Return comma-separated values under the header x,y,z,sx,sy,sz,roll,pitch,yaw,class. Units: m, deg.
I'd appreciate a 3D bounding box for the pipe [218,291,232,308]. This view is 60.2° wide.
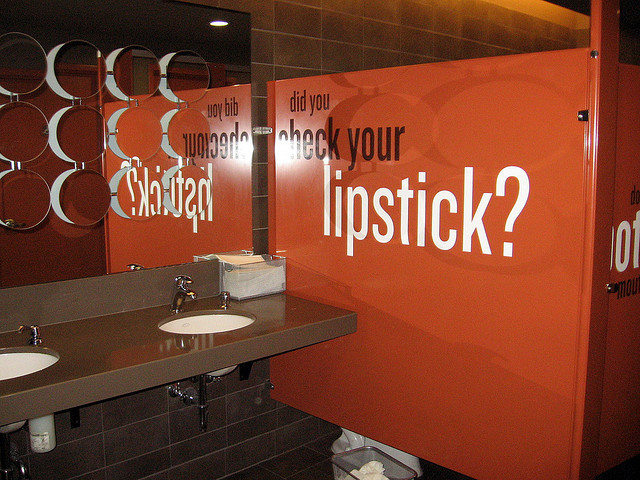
x,y,z,sx,sy,sz,roll,pitch,yaw,class
-0.506,0.326,3.003,0.074,0.081,0.073,-5,11,-37,pipe

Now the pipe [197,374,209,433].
x,y,z,sx,sy,sz,roll,pitch,yaw,class
-0.625,0.875,2.933,0.045,0.438,0.194,-2,14,-13,pipe

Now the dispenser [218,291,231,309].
x,y,z,sx,sy,sz,roll,pitch,yaw,class
-0.508,0.327,3.007,0.074,0.086,0.078,-7,12,-42,dispenser

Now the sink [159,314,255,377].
x,y,z,sx,sy,sz,roll,pitch,yaw,class
-0.584,0.448,2.802,0.353,0.240,0.351,-3,4,-39,sink
